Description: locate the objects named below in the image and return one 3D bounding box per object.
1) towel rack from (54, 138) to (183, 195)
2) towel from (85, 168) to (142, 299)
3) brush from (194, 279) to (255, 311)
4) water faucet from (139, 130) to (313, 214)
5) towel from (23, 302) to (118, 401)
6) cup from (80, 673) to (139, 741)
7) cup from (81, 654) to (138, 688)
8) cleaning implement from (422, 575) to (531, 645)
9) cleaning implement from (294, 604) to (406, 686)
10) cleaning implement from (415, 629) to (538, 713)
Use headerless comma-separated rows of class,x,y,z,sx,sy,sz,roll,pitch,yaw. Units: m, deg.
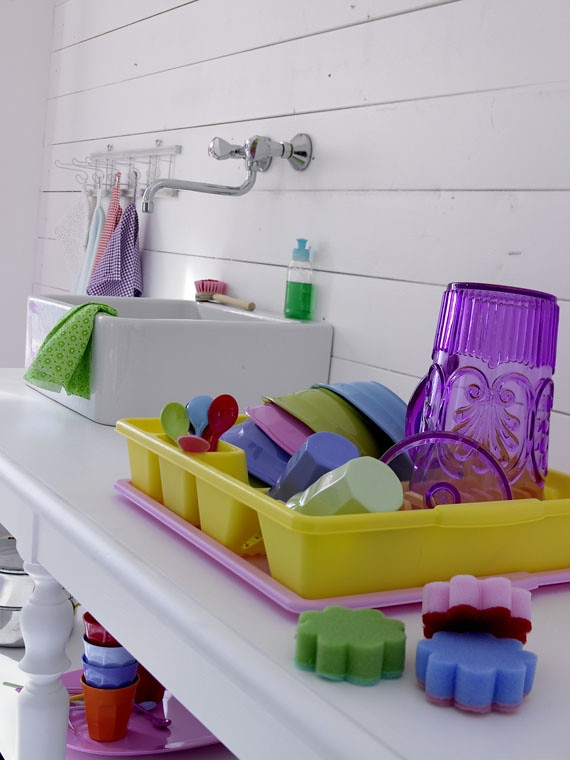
towel rack,-0.496,-0.644,1.759,0.387,0.147,0.122,9,15,31
towel,-0.491,-0.433,1.717,0.150,0.372,0.246,2,5,-33
brush,-0.136,-0.209,1.351,0.070,0.054,0.179,1,16,-30
water faucet,-0.114,-0.381,1.203,0.285,0.148,0.224,-10,14,-40
towel,-0.321,-0.030,0.897,0.114,0.153,0.056,17,-2,15
cup,-0.214,0.406,0.702,0.070,0.073,0.069,4,1,0
cup,-0.214,0.355,0.714,0.040,0.020,0.038,1,-5,0
cleaning implement,0.092,0.109,0.277,0.048,0.017,0.048,16,-32,-17
cleaning implement,0.030,0.118,0.258,0.033,0.012,0.033,2,6,-1
cleaning implement,0.085,0.128,0.254,0.050,0.018,0.049,5,-7,-39
